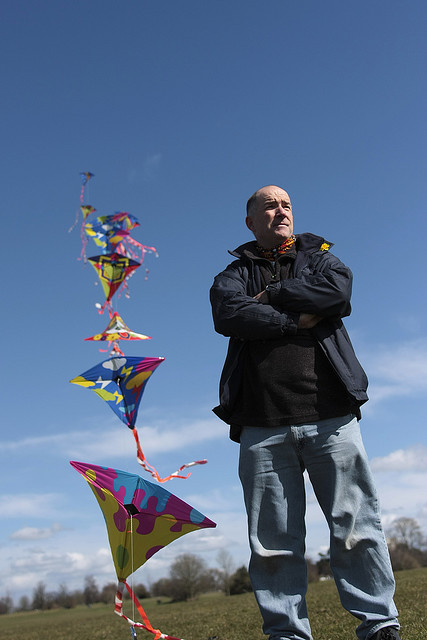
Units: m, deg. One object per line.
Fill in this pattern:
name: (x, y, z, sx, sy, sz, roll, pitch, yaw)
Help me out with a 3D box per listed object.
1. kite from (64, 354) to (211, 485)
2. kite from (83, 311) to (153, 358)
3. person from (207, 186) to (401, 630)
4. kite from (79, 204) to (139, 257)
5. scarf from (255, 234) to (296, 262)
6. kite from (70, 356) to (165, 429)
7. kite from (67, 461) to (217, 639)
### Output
kite: (-0.577, 0.593, 4.911, 0.956, 0.951, 0.081, -25, -30, 2)
kite: (-0.716, 0.117, 5.868, 0.506, 0.362, 0.496, -8, 6, -40)
person: (0.436, 0.402, 4.265, 0.839, 2.461, 0.446, -8, -11, -2)
kite: (-0.817, -0.712, 6.104, 0.439, 0.185, 0.486, -12, -14, -37)
scarf: (0.367, -0.413, 4.593, 0.246, 0.166, 0.167, -8, -11, 7)
kite: (-0.649, 0.493, 5.626, 0.739, 0.593, 0.063, -16, -19, 14)
kite: (-0.472, 1.396, 5.116, 0.830, 0.982, 0.202, -11, -12, 19)
